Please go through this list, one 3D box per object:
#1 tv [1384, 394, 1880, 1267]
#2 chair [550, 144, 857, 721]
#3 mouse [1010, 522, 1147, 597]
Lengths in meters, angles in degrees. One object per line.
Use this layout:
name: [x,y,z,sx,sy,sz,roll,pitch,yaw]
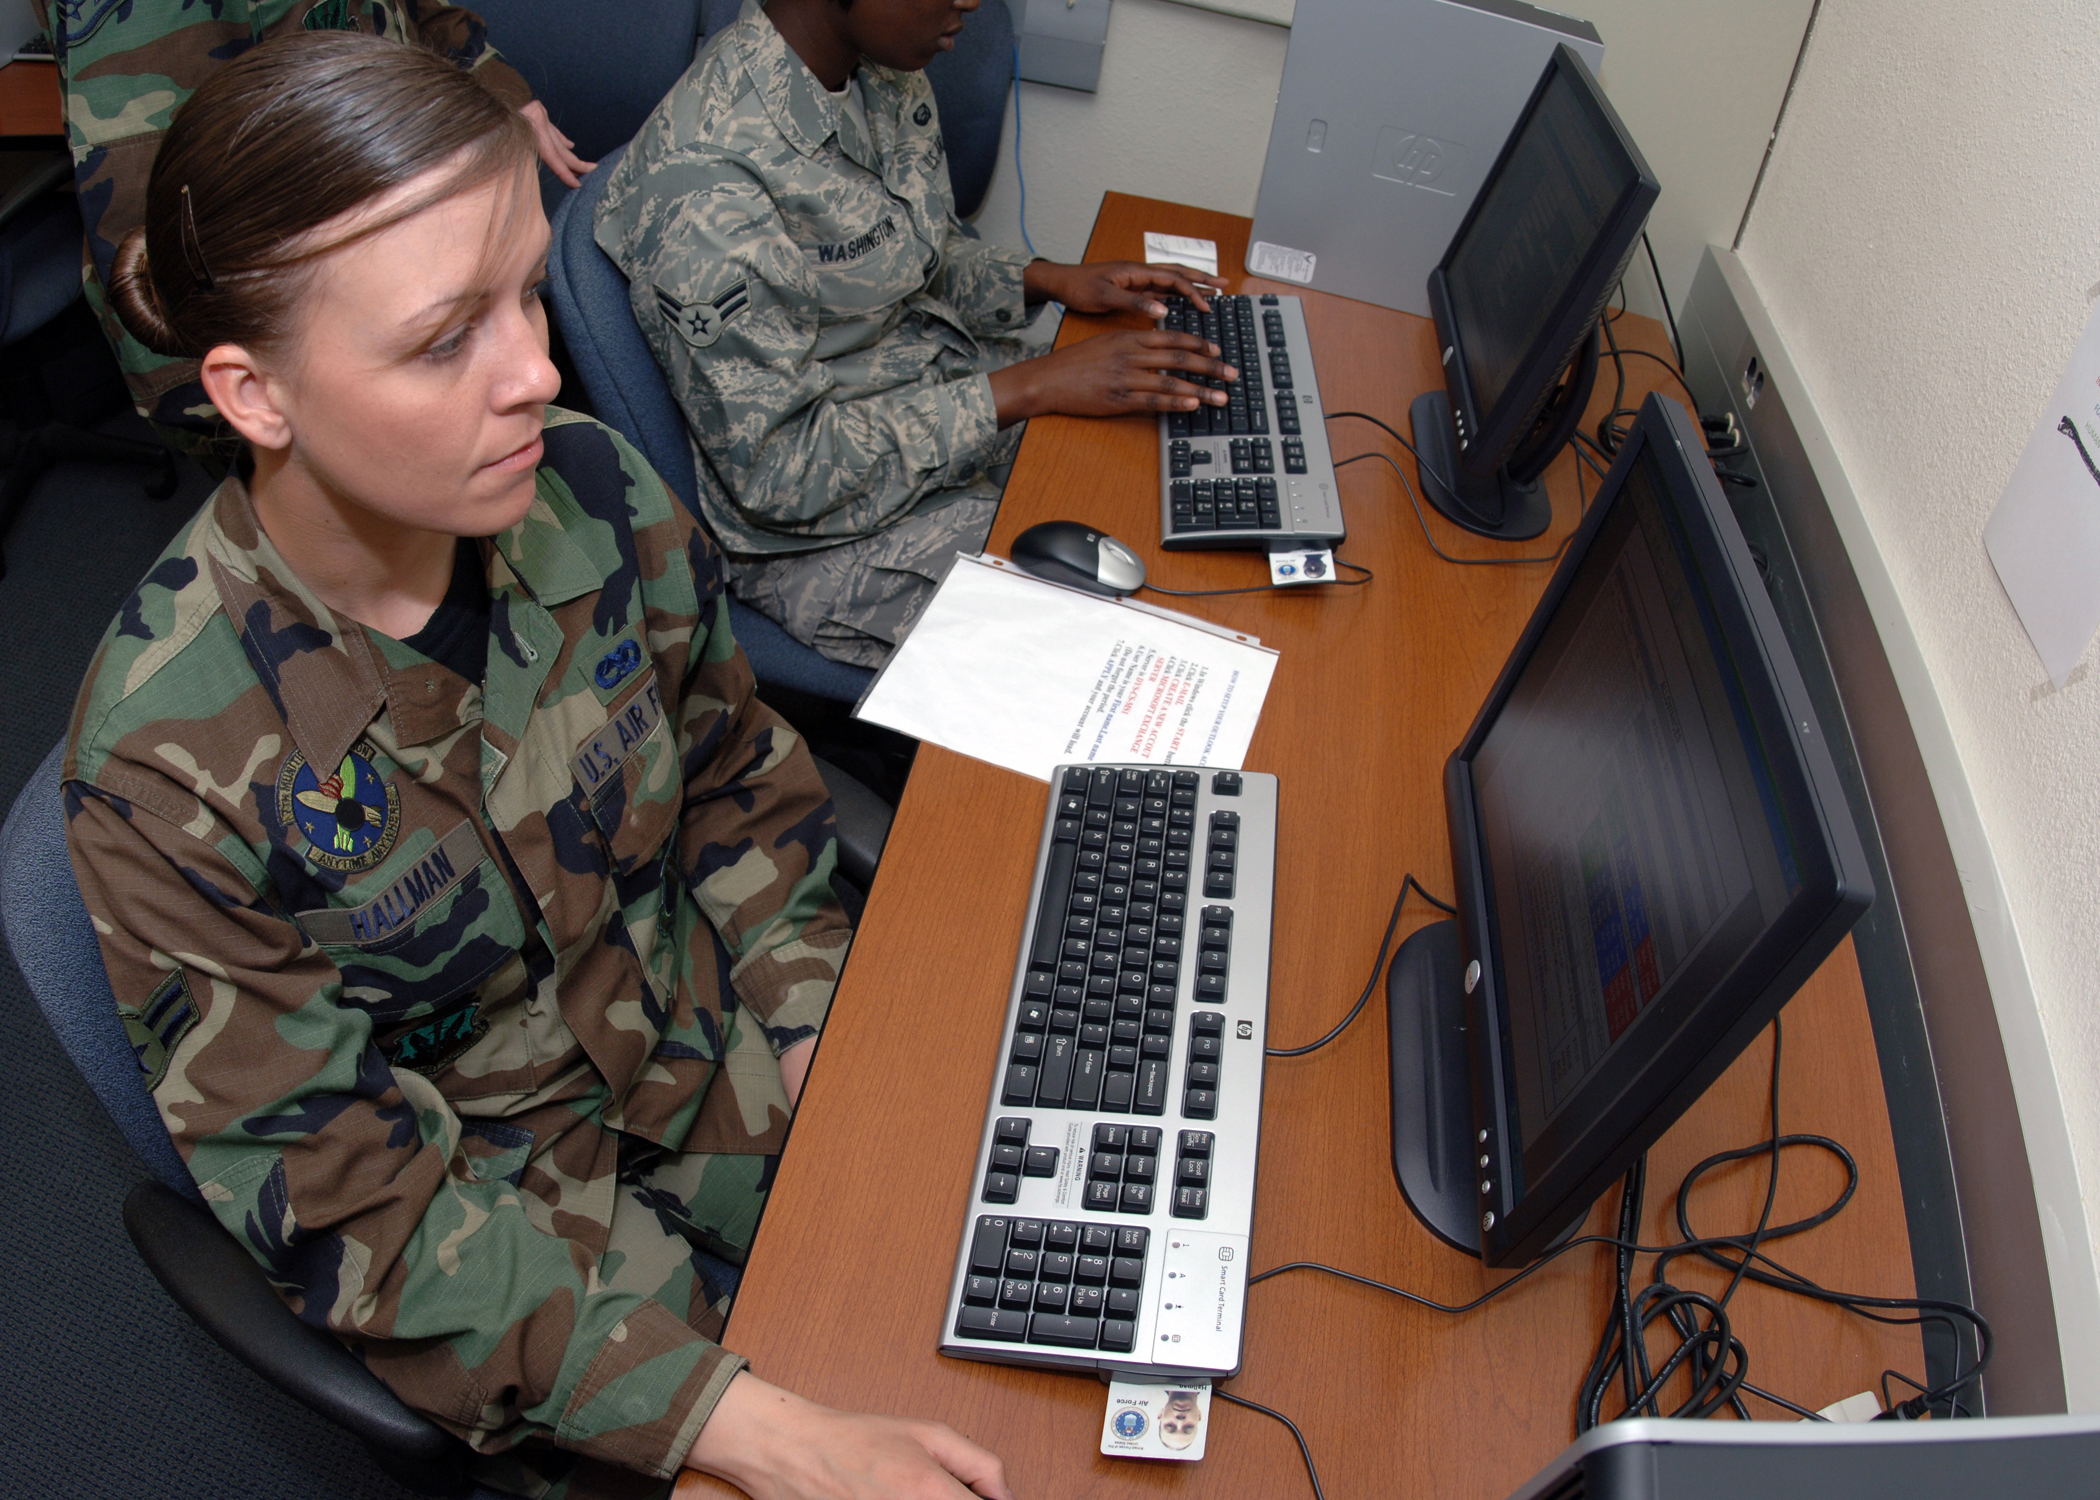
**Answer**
tv: [0.550,0.100,1.432,0.212,0.566,0.633,8,51,-1]
chair: [-0.439,-0.400,1.914,0.387,0.639,0.367,10,44,13]
mouse: [0.035,-0.234,1.867,0.126,0.045,0.090,10,55,6]
